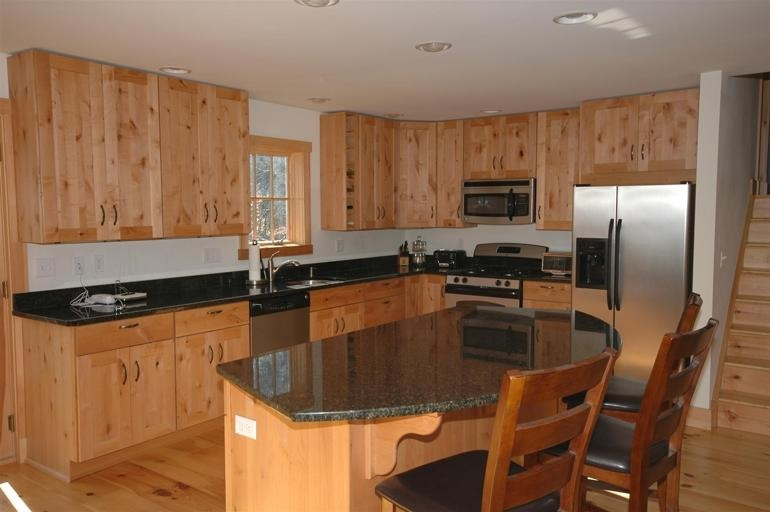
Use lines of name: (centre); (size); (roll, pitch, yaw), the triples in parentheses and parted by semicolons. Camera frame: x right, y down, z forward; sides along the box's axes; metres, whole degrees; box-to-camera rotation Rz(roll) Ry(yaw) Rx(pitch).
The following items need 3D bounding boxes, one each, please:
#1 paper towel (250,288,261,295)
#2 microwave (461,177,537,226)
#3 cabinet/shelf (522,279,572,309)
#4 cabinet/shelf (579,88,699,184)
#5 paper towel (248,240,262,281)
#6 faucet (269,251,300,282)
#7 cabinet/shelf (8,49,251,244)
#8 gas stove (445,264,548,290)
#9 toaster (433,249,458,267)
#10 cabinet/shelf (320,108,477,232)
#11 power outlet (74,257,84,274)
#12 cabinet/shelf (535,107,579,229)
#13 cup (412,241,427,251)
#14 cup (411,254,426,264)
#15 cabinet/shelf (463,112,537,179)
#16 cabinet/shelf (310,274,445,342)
paper towel: (-1.207, 0.328, 5.311); (0.090, 0.081, 0.083); (2, 4, 20)
microwave: (1.465, -0.646, 6.818); (0.601, 0.519, 0.976); (-10, 11, -43)
cabinet/shelf: (1.758, 0.407, 6.226); (0.561, 0.434, 0.343); (-1, -2, 31)
cabinet/shelf: (2.549, -1.185, 5.618); (1.114, 0.778, 0.419); (2, 2, 33)
paper towel: (-1.294, 0.046, 5.685); (0.133, 0.410, 0.270); (-5, 15, -12)
faucet: (-1.060, 0.109, 5.976); (0.333, 0.280, 0.415); (-3, 13, -9)
cabinet/shelf: (-2.170, -0.913, 4.691); (0.550, 1.059, 1.697); (3, 3, 42)
gas stove: (1.310, 0.232, 6.670); (1.047, 0.182, 0.754); (4, 13, 22)
toaster: (0.760, 0.030, 7.165); (0.298, 0.182, 0.268); (2, 13, 13)
cabinet/shelf: (0.075, -0.975, 6.703); (1.766, 1.359, 0.485); (-6, 16, -20)
power outlet: (-2.553, 0.077, 4.771); (0.076, 0.136, 0.029); (-10, 18, -30)
cabinet/shelf: (1.867, -0.944, 6.289); (0.462, 1.266, 0.277); (7, 18, 27)
cup: (0.437, -0.130, 7.365); (0.168, 0.146, 0.154); (-1, 4, 0)
cup: (0.420, 0.030, 7.345); (0.165, 0.105, 0.149); (4, 16, 14)
cabinet/shelf: (1.360, -1.273, 6.559); (0.858, 0.624, 0.322); (3, 6, 31)
cabinet/shelf: (-0.035, 0.513, 6.166); (0.336, 0.570, 1.830); (12, 17, 41)
